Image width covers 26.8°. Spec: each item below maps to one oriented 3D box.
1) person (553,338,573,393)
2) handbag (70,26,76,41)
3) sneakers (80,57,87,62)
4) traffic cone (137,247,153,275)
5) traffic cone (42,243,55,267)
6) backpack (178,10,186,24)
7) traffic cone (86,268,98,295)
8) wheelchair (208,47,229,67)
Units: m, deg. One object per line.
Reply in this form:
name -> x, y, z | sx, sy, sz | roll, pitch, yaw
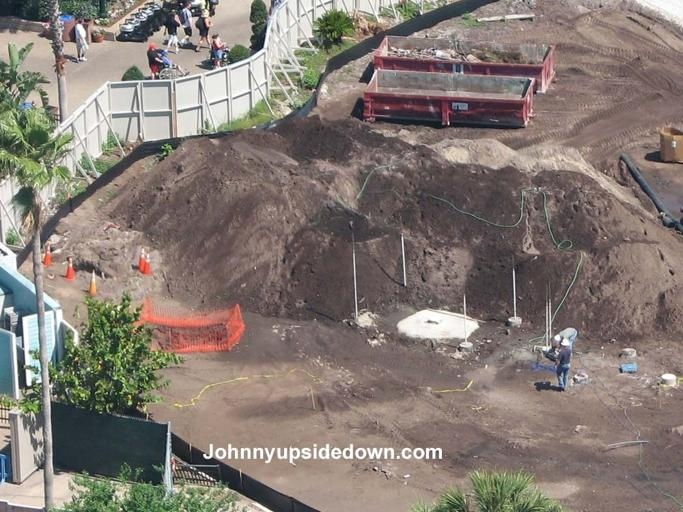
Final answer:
person -> 7.280, 3.531, 47.034 | 0.449, 1.747, 0.486 | 1, 22, 6
handbag -> -11.966, -9.875, 63.493 | 0.434, 0.536, 0.494 | 2, 15, -11
sneakers -> -11.241, -8.661, 62.504 | 0.264, 0.207, 0.148 | -10, 53, -10
traffic cone -> -6.960, 0.154, 51.052 | 0.587, 1.058, 0.715 | 2, 7, 4
traffic cone -> -10.539, -0.081, 51.566 | 0.543, 0.888, 0.597 | 3, 13, -2
backpack -> -7.162, -10.858, 64.526 | 0.169, 0.568, 0.360 | -7, 21, -27
traffic cone -> -8.763, 0.931, 50.411 | 0.529, 0.849, 0.575 | 2, 11, -23
wheelchair -> -5.327, -8.659, 61.977 | 0.845, 0.974, 0.719 | 1, 12, 17
